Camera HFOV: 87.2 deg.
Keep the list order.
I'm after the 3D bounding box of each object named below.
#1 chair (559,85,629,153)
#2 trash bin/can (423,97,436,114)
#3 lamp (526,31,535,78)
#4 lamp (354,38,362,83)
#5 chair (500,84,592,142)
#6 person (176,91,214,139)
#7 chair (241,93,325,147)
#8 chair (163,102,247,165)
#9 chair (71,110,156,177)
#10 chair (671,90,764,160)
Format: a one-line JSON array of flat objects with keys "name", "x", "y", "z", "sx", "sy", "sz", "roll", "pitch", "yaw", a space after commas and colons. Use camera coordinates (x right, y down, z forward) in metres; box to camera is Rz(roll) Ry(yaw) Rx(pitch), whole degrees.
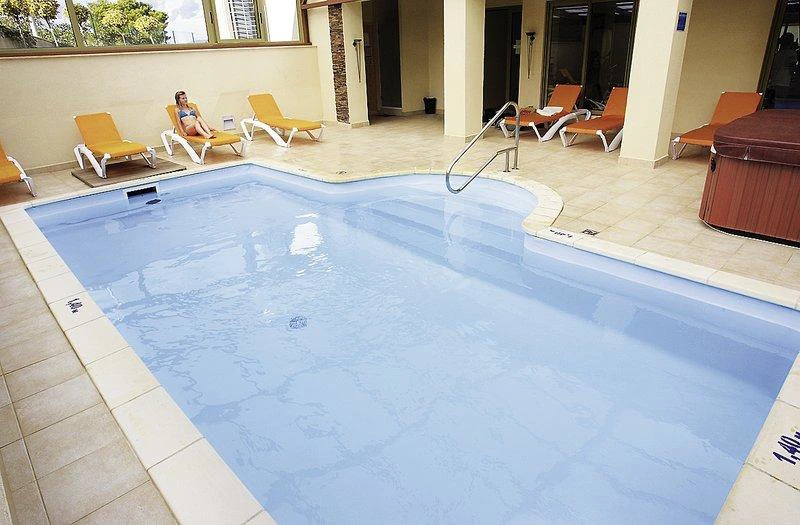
[{"name": "chair", "x": 4.491, "y": -3.131, "z": 9.489, "sx": 1.275, "sy": 1.258, "sz": 2.302, "roll": 20, "pitch": 41, "yaw": 39}, {"name": "trash bin/can", "x": 1.068, "y": -5.278, "z": 14.247, "sx": 0.540, "sy": 0.496, "sz": 0.465, "roll": 14, "pitch": 34, "yaw": 27}, {"name": "lamp", "x": 3.595, "y": -5.745, "z": 11.664, "sx": 0.098, "sy": 1.170, "sz": 0.302, "roll": -24, "pitch": 34, "yaw": -36}, {"name": "lamp", "x": -1.149, "y": -5.726, "z": 11.932, "sx": 0.254, "sy": 1.084, "sz": 0.171, "roll": -23, "pitch": 34, "yaw": -35}, {"name": "chair", "x": 3.596, "y": -3.672, "z": 10.298, "sx": 2.050, "sy": 1.058, "sz": 1.168, "roll": -19, "pitch": 30, "yaw": -26}, {"name": "person", "x": -4.672, "y": -3.220, "z": 9.563, "sx": 1.187, "sy": 0.711, "sz": 0.478, "roll": 27, "pitch": 27, "yaw": 24}, {"name": "chair", "x": -3.238, "y": -3.769, "z": 11.037, "sx": 1.658, "sy": 1.186, "sz": 2.348, "roll": -15, "pitch": 29, "yaw": -25}, {"name": "chair", "x": -4.510, "y": -2.946, "z": 9.904, "sx": 2.404, "sy": 1.461, "sz": 1.326, "roll": 21, "pitch": 33, "yaw": 32}, {"name": "chair", "x": -6.083, "y": -2.470, "z": 8.794, "sx": 1.472, "sy": 0.959, "sz": 1.065, "roll": 24, "pitch": 35, "yaw": 29}, {"name": "chair", "x": 6.030, "y": -2.606, "z": 8.141, "sx": 1.106, "sy": 1.167, "sz": 2.529, "roll": 22, "pitch": 34, "yaw": 39}]
